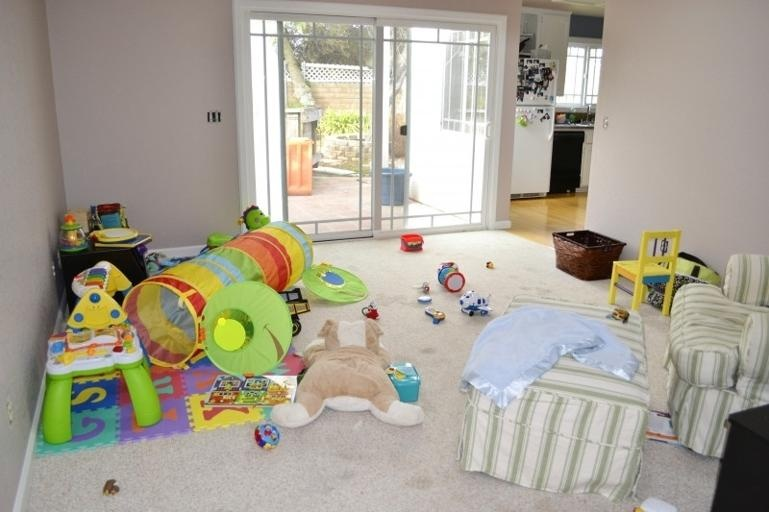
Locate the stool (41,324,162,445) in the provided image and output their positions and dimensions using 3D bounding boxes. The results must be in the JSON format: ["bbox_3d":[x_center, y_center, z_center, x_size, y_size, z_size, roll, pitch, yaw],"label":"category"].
[{"bbox_3d":[-1.702,0.692,2.984,0.620,0.448,0.608,-6,21,-28],"label":"stool"}]

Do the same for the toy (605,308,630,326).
[{"bbox_3d":[1.445,0.364,3.070,0.102,0.032,0.102,15,20,39],"label":"toy"}]

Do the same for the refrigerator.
[{"bbox_3d":[2.307,-1.984,7.781,0.728,1.989,0.266,-5,19,-16],"label":"refrigerator"}]

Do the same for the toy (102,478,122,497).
[{"bbox_3d":[-1.369,1.145,2.499,0.078,0.048,0.093,-12,22,-32],"label":"toy"}]

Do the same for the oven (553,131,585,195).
[{"bbox_3d":[3.107,-1.621,8.433,0.617,0.884,0.649,7,18,29],"label":"oven"}]

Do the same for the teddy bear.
[{"bbox_3d":[-0.228,0.699,3.141,0.871,0.387,0.707,-1,18,-3],"label":"teddy bear"}]

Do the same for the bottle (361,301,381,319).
[{"bbox_3d":[-0.113,0.442,4.100,0.152,0.146,0.099,0,11,11],"label":"bottle"}]

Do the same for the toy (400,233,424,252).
[{"bbox_3d":[0.297,-0.139,5.640,0.176,0.133,0.228,-1,5,-9],"label":"toy"}]

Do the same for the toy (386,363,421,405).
[{"bbox_3d":[0.130,0.795,3.121,0.153,0.132,0.227,-3,10,-11],"label":"toy"}]

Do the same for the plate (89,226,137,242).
[{"bbox_3d":[-2.139,-0.163,3.959,0.189,0.038,0.189,7,13,22],"label":"plate"}]

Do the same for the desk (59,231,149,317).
[{"bbox_3d":[-2.173,0.195,4.047,0.748,0.541,0.718,-5,-13,-9],"label":"desk"}]

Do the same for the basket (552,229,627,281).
[{"bbox_3d":[2.010,0.005,4.990,0.451,0.345,0.621,-3,12,-20],"label":"basket"}]
